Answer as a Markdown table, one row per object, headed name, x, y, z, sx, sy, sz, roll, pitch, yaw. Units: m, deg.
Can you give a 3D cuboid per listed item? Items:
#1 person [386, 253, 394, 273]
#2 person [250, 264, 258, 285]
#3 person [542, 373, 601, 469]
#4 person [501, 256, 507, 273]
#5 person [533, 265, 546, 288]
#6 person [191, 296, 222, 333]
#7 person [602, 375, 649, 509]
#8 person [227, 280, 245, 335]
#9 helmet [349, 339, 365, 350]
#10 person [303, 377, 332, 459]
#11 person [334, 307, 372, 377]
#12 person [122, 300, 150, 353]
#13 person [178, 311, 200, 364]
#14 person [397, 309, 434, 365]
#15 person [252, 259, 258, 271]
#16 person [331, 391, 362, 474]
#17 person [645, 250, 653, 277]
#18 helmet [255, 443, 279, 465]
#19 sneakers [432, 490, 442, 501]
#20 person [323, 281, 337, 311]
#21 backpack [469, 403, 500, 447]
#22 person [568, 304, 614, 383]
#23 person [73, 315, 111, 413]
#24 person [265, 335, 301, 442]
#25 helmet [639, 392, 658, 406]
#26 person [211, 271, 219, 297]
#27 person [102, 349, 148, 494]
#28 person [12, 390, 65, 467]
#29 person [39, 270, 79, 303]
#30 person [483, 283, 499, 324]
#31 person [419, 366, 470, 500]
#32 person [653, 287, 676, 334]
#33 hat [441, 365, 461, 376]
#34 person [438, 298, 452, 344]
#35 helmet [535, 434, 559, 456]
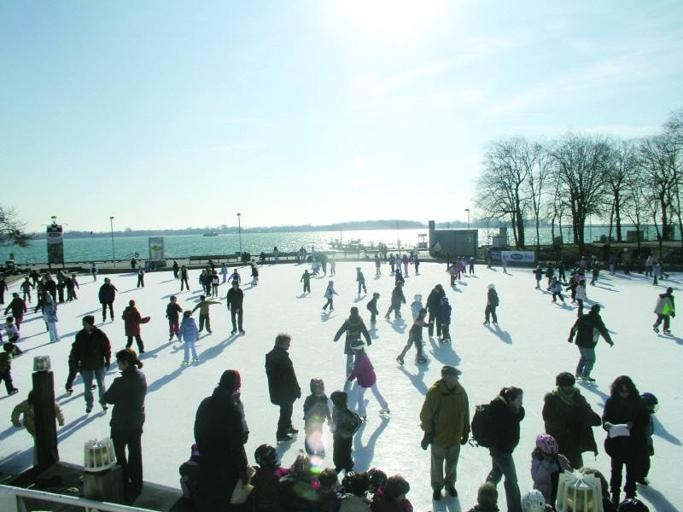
| name | x | y | z | sx | sy | sz | roll | pitch | yaw |
| --- | --- | --- | --- | --- | --- | --- | --- | --- | --- |
| person | 3.322 | 0.516 | 40.492 | 0.474 | 1.589 | 1.182 | 2 | -5 | 4 |
| person | -4.751 | 1.003 | 31.820 | 0.356 | 1.055 | 1.946 | -3 | 2 | -11 |
| person | 4.180 | 3.190 | 10.612 | 0.834 | 2.213 | 0.628 | -2 | 15 | 16 |
| person | 10.202 | 0.488 | 36.588 | 0.230 | 0.955 | 1.446 | -2 | 2 | 13 |
| person | 10.046 | 1.085 | 29.821 | 0.973 | 1.182 | 0.362 | 0 | -1 | -2 |
| person | -4.601 | 2.020 | 19.844 | 1.299 | 0.471 | 1.675 | 5 | -32 | -2 |
| person | 5.098 | 3.304 | 10.464 | 0.763 | 2.271 | 0.549 | -2 | 2 | 19 |
| person | -3.443 | 1.621 | 18.985 | 0.496 | 1.713 | 1.459 | -3 | 2 | -11 |
| helmet | 0.382 | 1.931 | 12.783 | 0.230 | 0.227 | 0.479 | -2 | 2 | 24 |
| person | -0.463 | 3.210 | 11.334 | 0.514 | 1.610 | 0.515 | -3 | 2 | -8 |
| person | 0.286 | 2.260 | 15.098 | 1.152 | 2.128 | 0.681 | 8 | 20 | 17 |
| person | -5.728 | 1.948 | 16.238 | 0.640 | 1.582 | 0.612 | 4 | 13 | 10 |
| person | -4.232 | 2.181 | 16.179 | 0.467 | 1.433 | 1.252 | -3 | 2 | -16 |
| person | 2.098 | 2.336 | 16.521 | 1.092 | 1.718 | 0.695 | -12 | 23 | -18 |
| person | -5.509 | 0.553 | 36.884 | 0.519 | 0.527 | 0.904 | -4 | -12 | -6 |
| person | 0.078 | 3.333 | 11.045 | 0.526 | 1.638 | 0.376 | -2 | 2 | -2 |
| person | 16.383 | 0.505 | 31.174 | 0.337 | 1.128 | 1.429 | -1 | 2 | 27 |
| helmet | -1.264 | 3.332 | 9.770 | 0.301 | 0.364 | 0.360 | 1 | 24 | -10 |
| sneakers | 1.734 | 4.364 | 10.721 | 0.116 | 0.201 | 0.198 | 6 | 15 | 8 |
| person | -0.497 | 1.662 | 23.799 | 0.612 | 1.261 | 0.537 | -22 | 31 | -34 |
| backpack | 2.604 | 3.084 | 10.623 | 0.503 | 0.768 | 0.367 | -7 | 3 | -37 |
| person | 6.326 | 2.294 | 14.871 | 0.834 | 2.021 | 1.049 | -14 | 24 | -20 |
| person | -5.480 | 2.400 | 12.823 | 0.752 | 1.593 | 0.460 | -2 | 2 | 17 |
| person | -1.212 | 2.705 | 12.090 | 0.667 | 2.237 | 0.503 | -2 | 2 | 2 |
| helmet | 5.570 | 2.587 | 10.606 | 0.345 | 0.121 | 0.256 | 20 | 16 | 25 |
| person | -5.882 | 1.242 | 26.955 | 0.305 | 1.122 | 1.543 | -3 | 2 | -13 |
| person | -3.937 | 3.033 | 10.757 | 0.726 | 1.884 | 0.696 | -4 | 3 | -39 |
| person | -6.152 | 3.294 | 11.585 | 0.720 | 1.144 | 1.679 | -4 | 3 | -41 |
| person | -12.152 | 1.340 | 25.193 | 1.029 | 1.233 | 1.121 | -2 | 10 | -15 |
| person | 4.840 | 1.544 | 19.034 | 0.446 | 1.414 | 1.638 | -2 | 2 | 13 |
| person | 1.884 | 3.214 | 10.599 | 0.928 | 2.485 | 0.461 | -2 | 2 | -2 |
| person | 9.656 | 1.610 | 17.559 | 0.542 | 1.435 | 1.358 | -1 | 2 | 27 |
| hat | 1.952 | 2.077 | 10.509 | 0.270 | 0.101 | 0.203 | 12 | 18 | 21 |
| person | 3.027 | 1.854 | 17.337 | 0.366 | 1.314 | 0.635 | -2 | 2 | 9 |
| helmet | 3.465 | 3.178 | 9.917 | 0.259 | 0.342 | 0.350 | 6 | 30 | -5 |
